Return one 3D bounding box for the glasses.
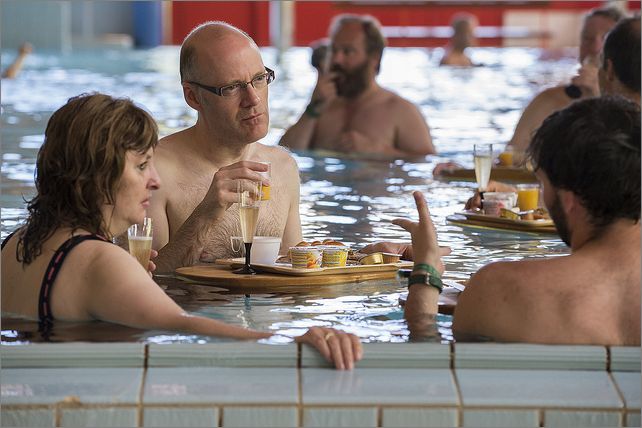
[{"bbox_3d":[-0.403,-0.590,3.843,0.218,0.055,0.210,10,32,38],"label":"glasses"}]

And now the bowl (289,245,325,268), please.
[{"bbox_3d":[-0.064,0.173,3.407,0.100,0.053,0.093,1,-4,0],"label":"bowl"}]

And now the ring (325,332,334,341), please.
[{"bbox_3d":[0.028,0.392,2.700,0.021,0.005,0.020,-25,15,7],"label":"ring"}]

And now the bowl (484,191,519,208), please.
[{"bbox_3d":[0.993,-0.085,4.573,0.120,0.063,0.103,4,1,-1],"label":"bowl"}]

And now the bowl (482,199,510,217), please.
[{"bbox_3d":[0.963,-0.035,4.546,0.101,0.073,0.105,0,0,0],"label":"bowl"}]

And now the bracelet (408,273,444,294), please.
[{"bbox_3d":[0.376,0.247,3.016,0.085,0.029,0.081,20,-14,-27],"label":"bracelet"}]

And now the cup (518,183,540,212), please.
[{"bbox_3d":[1.151,-0.094,4.623,0.145,0.198,0.135,-1,0,0],"label":"cup"}]

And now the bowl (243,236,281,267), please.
[{"bbox_3d":[-0.247,0.156,3.579,0.156,0.108,0.153,-1,0,0],"label":"bowl"}]
